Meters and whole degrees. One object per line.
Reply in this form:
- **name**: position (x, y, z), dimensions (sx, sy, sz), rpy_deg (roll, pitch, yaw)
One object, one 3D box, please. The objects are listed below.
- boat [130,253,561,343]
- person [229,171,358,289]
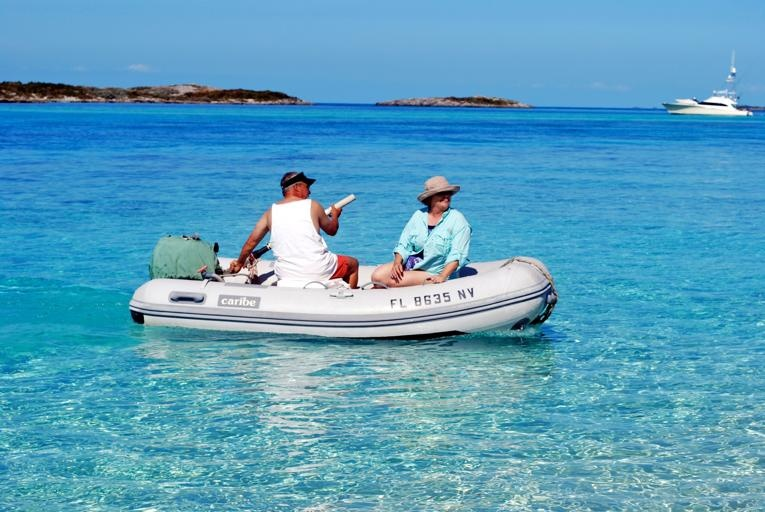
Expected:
- **boat**: position (-0.469, 0.540, 14.445), dimensions (5.044, 0.559, 1.756), rpy_deg (1, -1, 6)
- **person**: position (-1.200, -0.330, 14.309), dimensions (1.652, 1.663, 0.591), rpy_deg (-2, 10, -3)
